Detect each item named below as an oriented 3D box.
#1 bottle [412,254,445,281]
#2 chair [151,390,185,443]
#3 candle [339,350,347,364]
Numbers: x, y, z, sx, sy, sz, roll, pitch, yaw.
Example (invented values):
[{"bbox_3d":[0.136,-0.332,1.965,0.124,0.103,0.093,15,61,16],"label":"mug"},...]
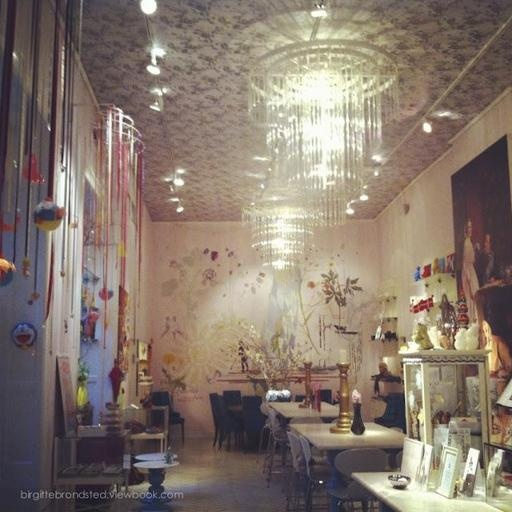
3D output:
[{"bbox_3d":[2.862,0.200,8.133,0.315,0.384,1.514,-2,-11,9],"label":"bottle"},{"bbox_3d":[-1.864,3.410,10.564,0.720,1.016,1.248,1,-10,-9],"label":"chair"},{"bbox_3d":[0.924,1.058,5.227,0.073,0.141,0.124,-1,-10,6],"label":"candle"}]
